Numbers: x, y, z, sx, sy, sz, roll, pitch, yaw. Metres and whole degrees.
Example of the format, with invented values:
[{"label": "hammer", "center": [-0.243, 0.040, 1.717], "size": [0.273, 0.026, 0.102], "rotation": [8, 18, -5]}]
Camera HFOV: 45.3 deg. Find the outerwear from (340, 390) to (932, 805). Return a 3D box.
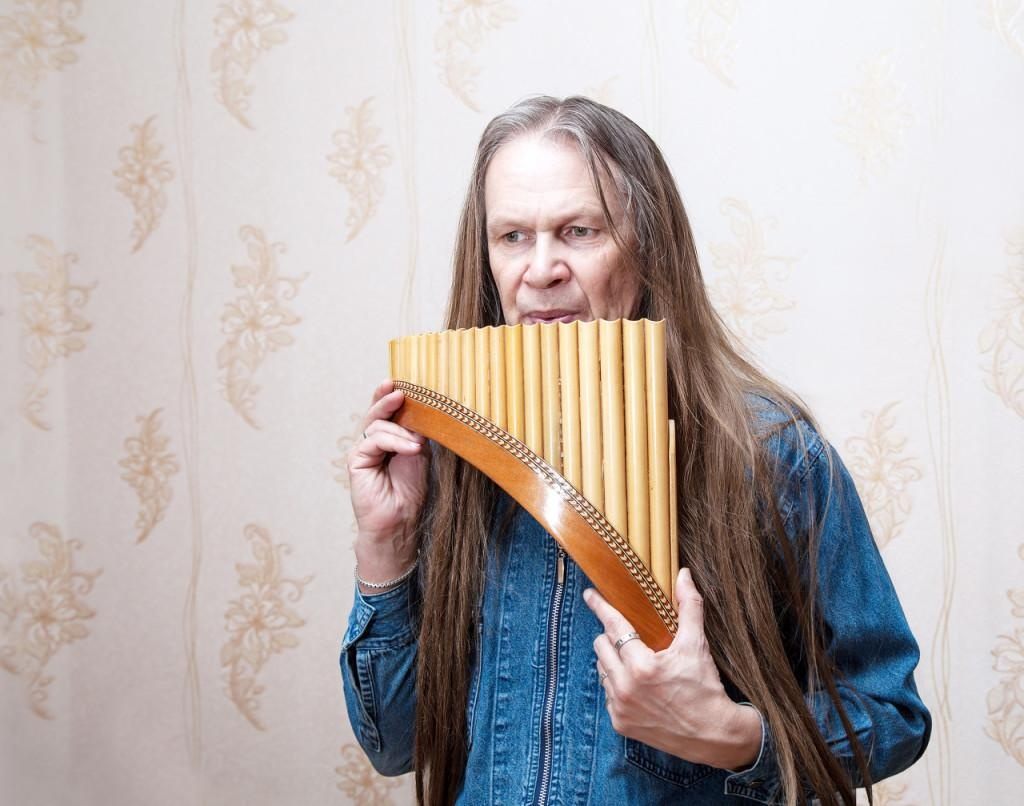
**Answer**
[{"label": "outerwear", "center": [0.236, 0.426, 2.657], "size": [0.895, 0.861, 0.356], "rotation": [-2, -2, 21]}]
